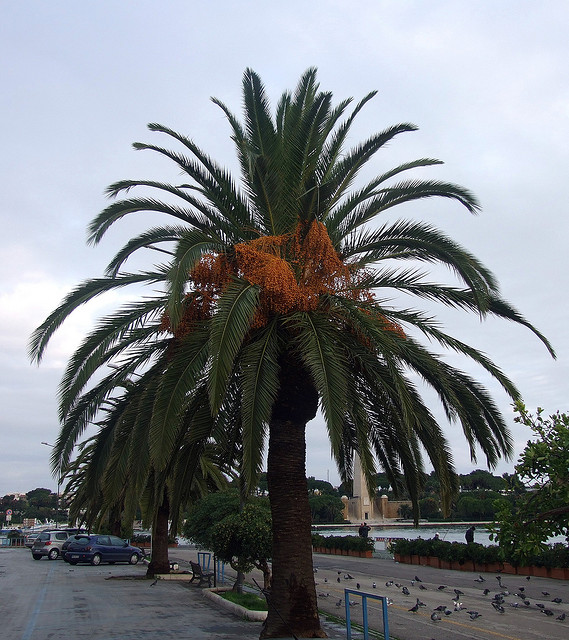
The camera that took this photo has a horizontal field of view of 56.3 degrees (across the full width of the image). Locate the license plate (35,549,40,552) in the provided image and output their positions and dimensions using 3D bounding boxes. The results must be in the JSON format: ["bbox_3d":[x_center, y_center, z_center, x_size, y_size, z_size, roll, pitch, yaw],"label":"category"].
[{"bbox_3d":[-15.363,14.291,32.853,0.231,0.085,0.217,-1,-15,0],"label":"license plate"}]

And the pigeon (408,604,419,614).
[{"bbox_3d":[3.060,6.792,12.465,0.165,0.284,0.558,-6,-18,7],"label":"pigeon"}]

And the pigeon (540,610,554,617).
[{"bbox_3d":[5.758,6.400,11.511,0.335,0.103,0.127,8,-8,-24],"label":"pigeon"}]

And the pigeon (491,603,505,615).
[{"bbox_3d":[4.941,6.668,12.212,0.187,0.097,0.311,28,-8,-6],"label":"pigeon"}]

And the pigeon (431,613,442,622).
[{"bbox_3d":[3.204,6.252,11.112,0.185,0.147,0.087,8,-4,-4],"label":"pigeon"}]

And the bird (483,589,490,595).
[{"bbox_3d":[5.651,7.587,14.763,0.108,0.132,0.352,-8,-18,14],"label":"bird"}]

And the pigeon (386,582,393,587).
[{"bbox_3d":[3.280,8.282,16.535,0.141,0.088,0.195,2,-16,-8],"label":"pigeon"}]

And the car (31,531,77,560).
[{"bbox_3d":[-14.670,14.208,33.315,3.155,1.532,1.805,5,-12,-37],"label":"car"}]

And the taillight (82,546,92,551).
[{"bbox_3d":[-10.185,11.779,27.301,0.429,0.213,0.091,1,-19,-14],"label":"taillight"}]
